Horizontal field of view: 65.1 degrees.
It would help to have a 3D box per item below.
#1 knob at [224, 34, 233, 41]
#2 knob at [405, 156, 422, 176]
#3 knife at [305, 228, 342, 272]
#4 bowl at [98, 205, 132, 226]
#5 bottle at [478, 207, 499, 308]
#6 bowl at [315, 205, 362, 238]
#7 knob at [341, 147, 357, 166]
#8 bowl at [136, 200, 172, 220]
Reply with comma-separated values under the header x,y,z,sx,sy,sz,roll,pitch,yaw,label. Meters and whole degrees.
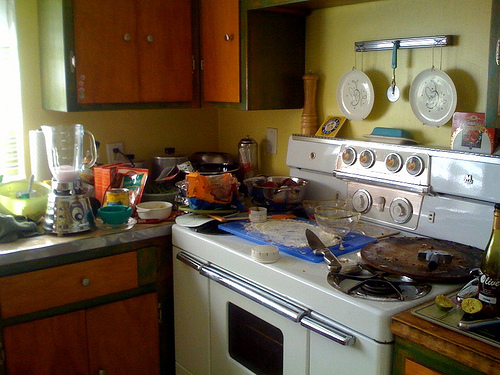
x,y,z,sx,sy,sz,roll,pitch,yaw,label
-0.115,-0.798,2.077,0.014,0.033,0.066,-11,17,-36,knob
0.668,-0.095,1.608,0.018,0.067,0.066,2,4,-42,knob
0.265,0.231,1.457,0.060,0.072,0.256,-3,14,-11,knife
-0.647,0.120,1.853,0.106,0.052,0.107,-1,5,0,bowl
0.674,0.224,1.094,0.054,0.199,0.110,8,16,32,bottle
0.340,0.104,1.548,0.158,0.074,0.113,8,4,-43,bowl
0.466,-0.149,1.847,0.022,0.073,0.073,4,19,-33,knob
-0.493,0.113,2.012,0.171,0.068,0.212,-5,15,-16,bowl
